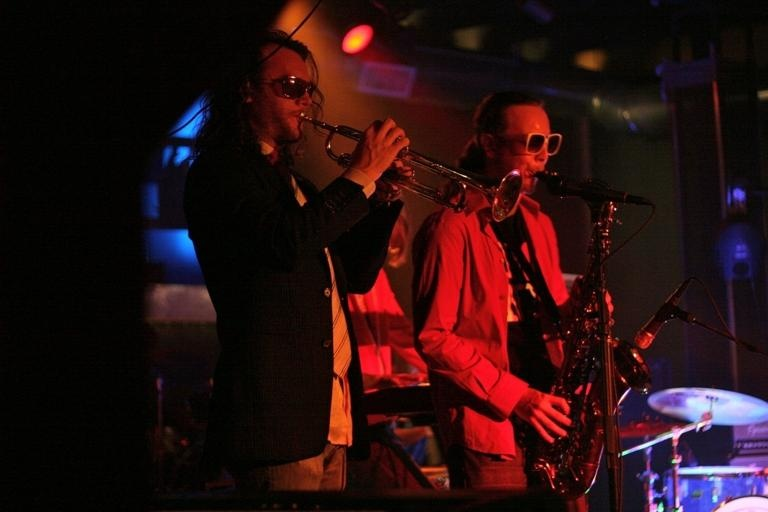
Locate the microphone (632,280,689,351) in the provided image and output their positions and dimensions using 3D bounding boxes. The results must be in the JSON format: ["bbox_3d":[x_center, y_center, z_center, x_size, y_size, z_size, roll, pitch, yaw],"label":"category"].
[{"bbox_3d":[1.738,0.378,5.388,0.146,0.140,0.508,25,-67,-37],"label":"microphone"}]

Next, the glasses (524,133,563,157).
[{"bbox_3d":[0.864,-0.601,4.792,0.148,0.065,0.145,2,-7,-28],"label":"glasses"}]
